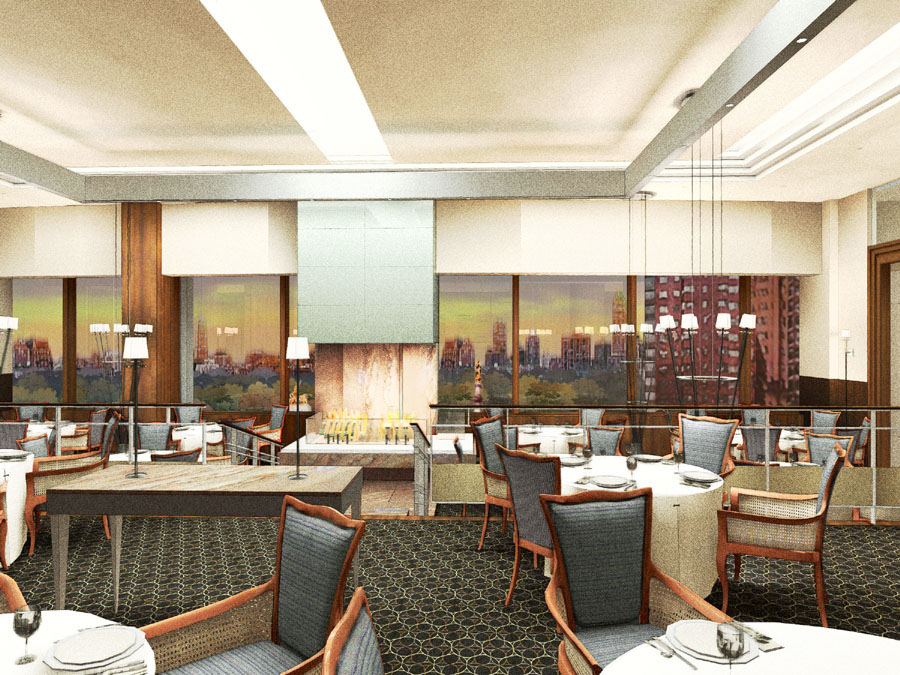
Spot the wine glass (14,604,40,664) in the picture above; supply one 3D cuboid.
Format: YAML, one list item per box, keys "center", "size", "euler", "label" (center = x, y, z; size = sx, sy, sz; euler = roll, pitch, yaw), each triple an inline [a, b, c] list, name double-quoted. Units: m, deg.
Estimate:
- center: [-2.380, 1.642, 3.932]
  size: [0.131, 0.285, 0.279]
  euler: [-2, -2, -31]
  label: "wine glass"

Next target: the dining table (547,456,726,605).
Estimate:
- center: [1.632, 1.514, 5.990]
  size: [1.024, 0.876, 1.365]
  euler: [0, -1, -2]
  label: "dining table"

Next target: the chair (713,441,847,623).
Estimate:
- center: [3.050, 1.487, 6.235]
  size: [1.316, 1.805, 1.340]
  euler: [1, -2, 17]
  label: "chair"

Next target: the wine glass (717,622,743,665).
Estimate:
- center: [1.537, 1.657, 3.800]
  size: [0.138, 0.196, 0.256]
  euler: [-3, -2, 22]
  label: "wine glass"
